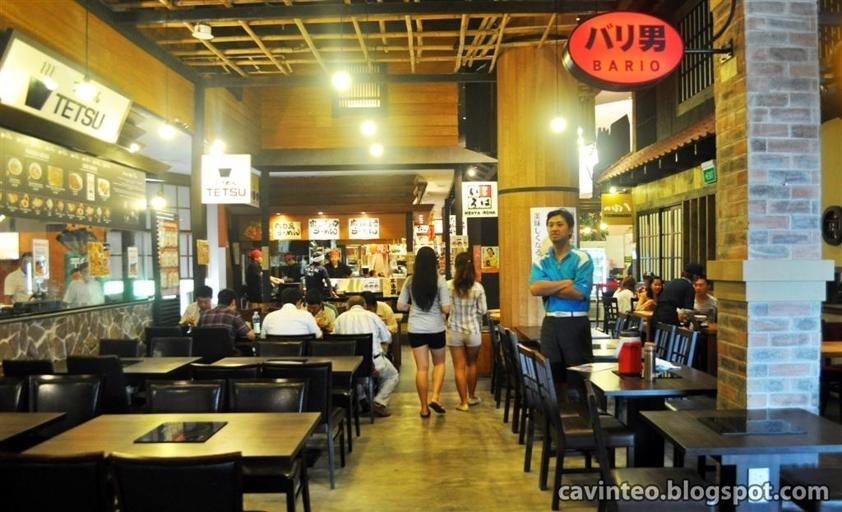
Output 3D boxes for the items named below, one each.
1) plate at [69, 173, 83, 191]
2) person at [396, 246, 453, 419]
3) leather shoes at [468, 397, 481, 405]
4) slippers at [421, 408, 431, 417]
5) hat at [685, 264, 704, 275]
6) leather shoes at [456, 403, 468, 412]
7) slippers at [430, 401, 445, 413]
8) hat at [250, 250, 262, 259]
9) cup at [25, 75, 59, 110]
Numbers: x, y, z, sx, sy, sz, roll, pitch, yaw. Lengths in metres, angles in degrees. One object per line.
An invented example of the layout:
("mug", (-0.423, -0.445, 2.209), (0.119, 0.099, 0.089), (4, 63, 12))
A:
("plate", (-4.807, -1.022, 9.514), (0.076, 0.190, 0.166), (-12, -7, 41))
("person", (0.054, 1.002, 9.240), (0.657, 2.363, 1.353), (-1, 12, -1))
("leather shoes", (0.738, 1.992, 9.372), (0.185, 0.151, 0.064), (0, 0, -15))
("slippers", (0.069, 2.018, 8.822), (0.135, 0.086, 0.300), (0, 0, 5))
("hat", (4.185, 0.237, 10.363), (0.279, 0.132, 0.191), (-11, 18, -34))
("leather shoes", (0.564, 1.986, 9.093), (0.182, 0.092, 0.165), (3, 12, 16))
("slippers", (0.226, 1.957, 8.905), (0.219, 0.107, 0.080), (30, 42, 28))
("hat", (-3.570, -0.042, 14.904), (0.205, 0.094, 0.271), (7, 7, -9))
("cup", (-4.646, -1.962, 8.378), (0.324, 0.356, 0.338), (2, -7, 0))
